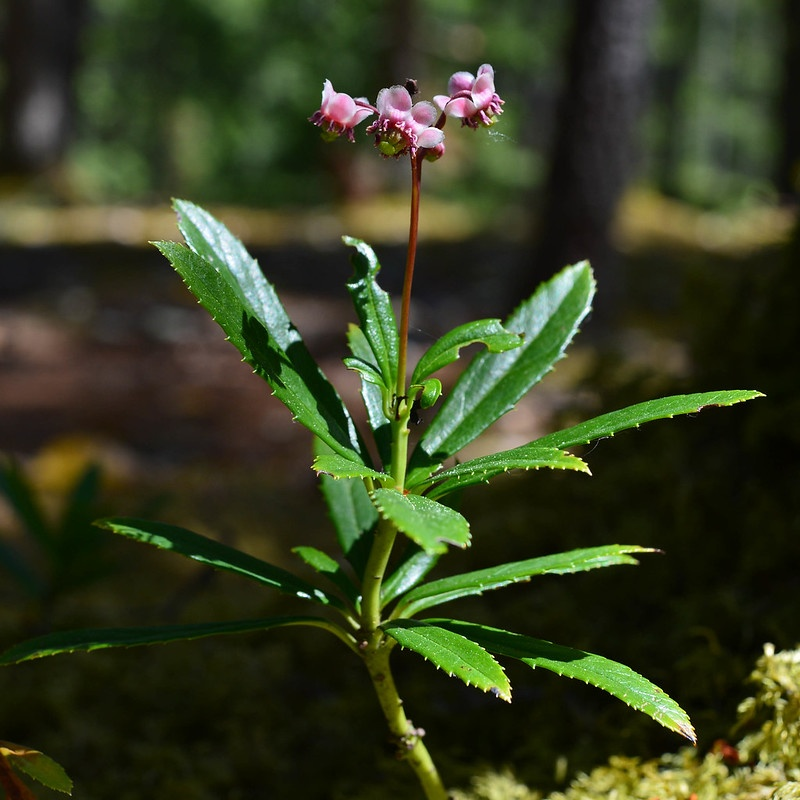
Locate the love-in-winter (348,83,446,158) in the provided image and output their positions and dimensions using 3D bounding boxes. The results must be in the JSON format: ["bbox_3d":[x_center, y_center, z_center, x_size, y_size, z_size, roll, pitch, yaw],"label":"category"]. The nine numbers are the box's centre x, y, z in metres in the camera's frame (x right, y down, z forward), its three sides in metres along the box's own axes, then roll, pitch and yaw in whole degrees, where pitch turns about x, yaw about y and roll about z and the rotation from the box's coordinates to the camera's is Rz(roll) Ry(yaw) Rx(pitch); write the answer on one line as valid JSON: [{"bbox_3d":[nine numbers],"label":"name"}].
[{"bbox_3d":[0.006,-0.308,1.120,0.100,0.074,0.043,8,-20,-4],"label":"love-in-winter"}]

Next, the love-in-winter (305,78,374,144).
[{"bbox_3d":[-0.070,-0.326,1.155,0.065,0.052,0.066,16,17,-32],"label":"love-in-winter"}]

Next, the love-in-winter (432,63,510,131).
[{"bbox_3d":[0.086,-0.347,1.151,0.070,0.071,0.073,12,22,19],"label":"love-in-winter"}]
